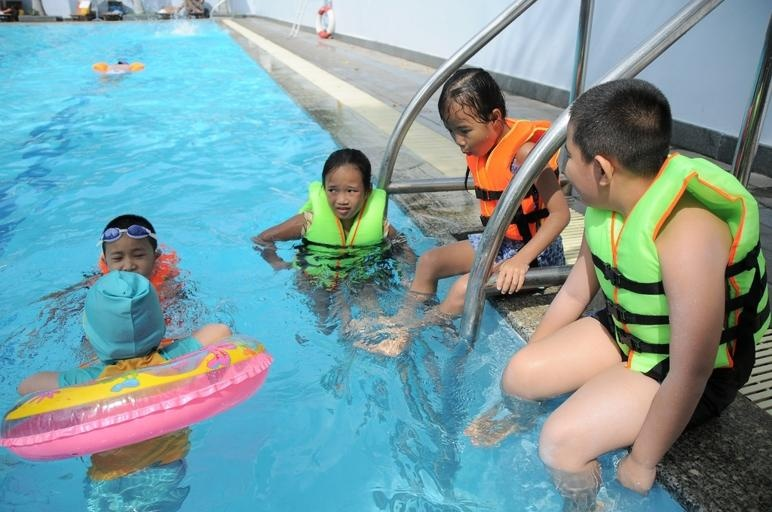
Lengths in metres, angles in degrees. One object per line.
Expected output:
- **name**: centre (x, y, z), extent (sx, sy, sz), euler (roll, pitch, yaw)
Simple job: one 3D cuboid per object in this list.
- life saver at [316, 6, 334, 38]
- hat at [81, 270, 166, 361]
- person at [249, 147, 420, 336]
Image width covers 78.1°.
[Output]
- **life saver**: centre (-1.953, -7.540, 15.402), extent (0.410, 0.926, 1.479), euler (0, 30, -15)
- **hat**: centre (-1.203, 0.258, 2.276), extent (0.380, 0.346, 0.390), euler (-4, 46, -22)
- **person**: centre (-0.338, -0.156, 3.261), extent (1.168, 1.151, 0.651), euler (3, 42, -5)
